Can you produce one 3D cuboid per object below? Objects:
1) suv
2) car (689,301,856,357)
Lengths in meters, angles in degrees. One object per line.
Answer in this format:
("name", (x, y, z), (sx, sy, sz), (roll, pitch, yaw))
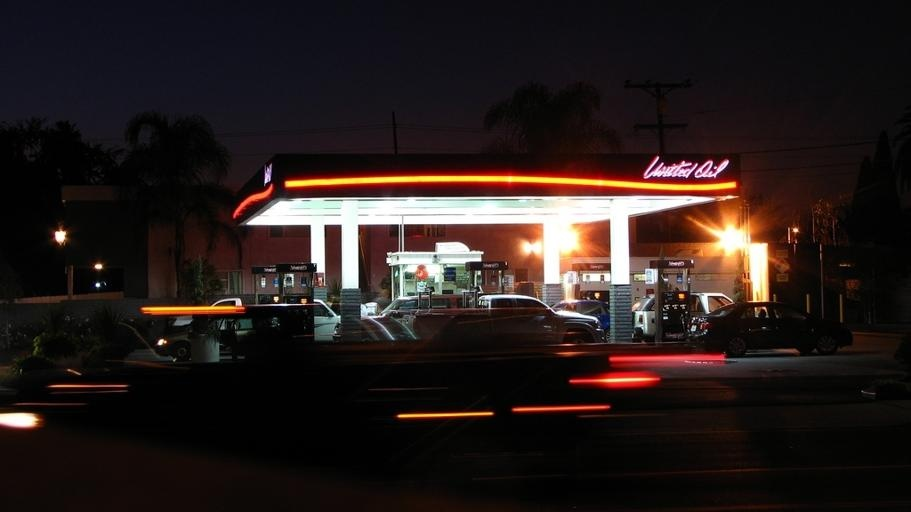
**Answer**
("suv", (8.918, 2.205, 32.212), (3.694, 1.322, 1.871), (-4, 1, -8))
("car", (11.406, 2.531, 30.642), (5.701, 1.588, 2.277), (-1, -1, -4))
